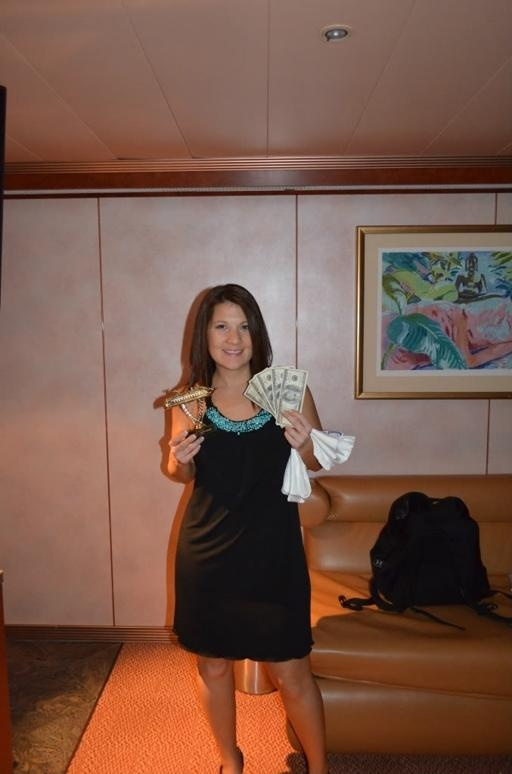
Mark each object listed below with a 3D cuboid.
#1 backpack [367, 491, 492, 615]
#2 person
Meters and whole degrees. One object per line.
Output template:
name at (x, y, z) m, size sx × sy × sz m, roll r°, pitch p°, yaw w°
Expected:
backpack at (0.798, 0.692, 2.838) m, size 0.464 × 0.490 × 0.484 m, roll -1°, pitch -1°, yaw 16°
person at (-0.036, 0.568, 2.261) m, size 0.546 × 1.846 × 0.427 m, roll -1°, pitch 10°, yaw 5°
